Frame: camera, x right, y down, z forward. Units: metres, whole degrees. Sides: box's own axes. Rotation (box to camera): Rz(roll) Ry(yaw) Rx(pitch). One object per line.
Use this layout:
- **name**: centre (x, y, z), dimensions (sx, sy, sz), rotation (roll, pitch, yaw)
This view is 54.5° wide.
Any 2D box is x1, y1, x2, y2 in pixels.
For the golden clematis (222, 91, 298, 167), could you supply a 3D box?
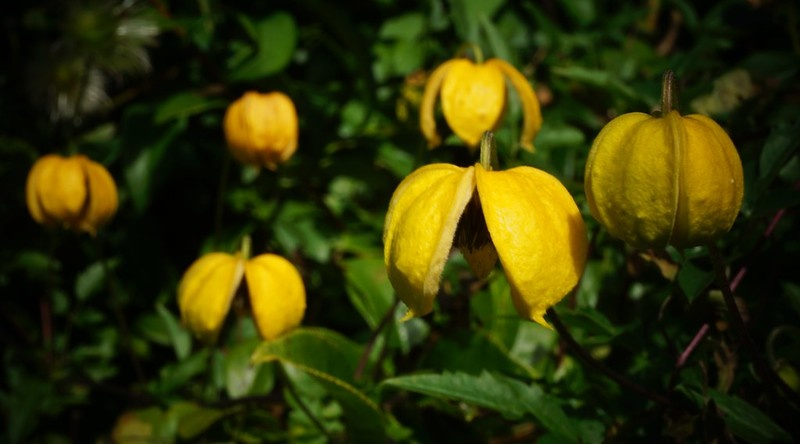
- **golden clematis**: centre (-0.303, -0.239, 1.732), dimensions (0.189, 0.196, 0.172), rotation (-5, 20, -26)

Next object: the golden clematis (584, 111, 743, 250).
- **golden clematis**: centre (0.557, -0.084, 1.666), dimensions (0.326, 0.280, 0.327), rotation (3, 13, 16)

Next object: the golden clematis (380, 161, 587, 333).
- **golden clematis**: centre (0.173, 0.022, 1.707), dimensions (0.458, 0.309, 0.443), rotation (3, 20, 11)

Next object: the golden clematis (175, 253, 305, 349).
- **golden clematis**: centre (-0.336, 0.142, 1.711), dimensions (0.306, 0.178, 0.255), rotation (4, 20, -17)

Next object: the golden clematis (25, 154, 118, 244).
- **golden clematis**: centre (-0.712, -0.054, 1.676), dimensions (0.159, 0.144, 0.178), rotation (-1, -2, -38)
